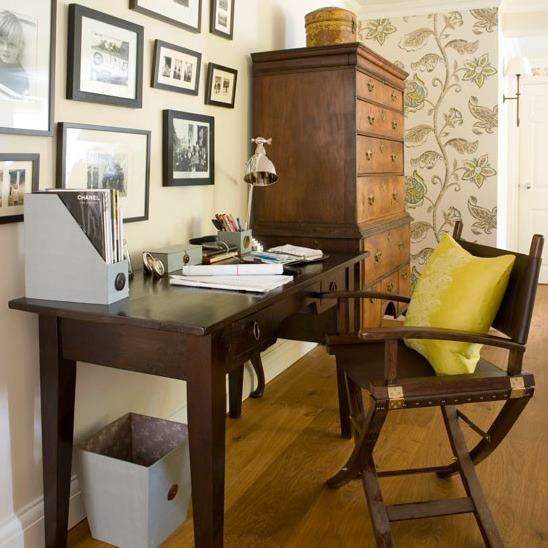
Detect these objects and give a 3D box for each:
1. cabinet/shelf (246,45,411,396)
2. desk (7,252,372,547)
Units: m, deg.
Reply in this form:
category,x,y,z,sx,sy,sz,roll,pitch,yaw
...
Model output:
category,x,y,z,sx,sy,sz,roll,pitch,yaw
cabinet/shelf,0.530,-0.588,4.065,1.101,3.237,1.893,0,4,22
desk,-0.262,0.406,1.713,0.686,0.796,0.928,2,10,25
